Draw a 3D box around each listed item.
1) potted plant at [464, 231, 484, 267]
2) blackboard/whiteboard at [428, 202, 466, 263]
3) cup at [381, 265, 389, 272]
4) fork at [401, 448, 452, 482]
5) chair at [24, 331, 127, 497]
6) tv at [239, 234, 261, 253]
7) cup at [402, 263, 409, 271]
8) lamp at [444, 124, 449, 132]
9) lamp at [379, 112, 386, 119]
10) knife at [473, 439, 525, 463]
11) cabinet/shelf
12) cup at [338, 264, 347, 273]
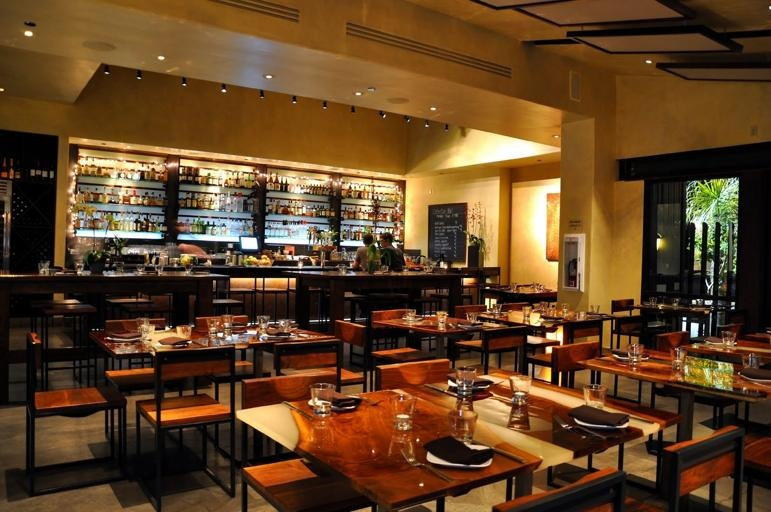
[{"bbox_3d":[2.044,-0.146,12.957,0.388,0.655,0.656,-1,-1,3],"label":"potted plant"},{"bbox_3d":[1.494,-0.549,13.638,0.093,1.883,1.587,2,0,-39],"label":"blackboard/whiteboard"},{"bbox_3d":[-0.010,0.193,9.036,0.141,0.113,0.087,0,2,24],"label":"cup"},{"bbox_3d":[0.202,1.168,3.255,0.093,0.063,0.504,1,1,-26],"label":"fork"},{"bbox_3d":[-2.662,1.263,4.927,0.742,1.272,0.814,-1,-1,-31],"label":"chair"},{"bbox_3d":[-2.760,-0.244,11.611,0.396,0.323,0.192,5,-21,-32],"label":"tv"},{"bbox_3d":[0.364,0.200,10.617,0.140,0.097,0.121,-1,3,2],"label":"cup"},{"bbox_3d":[1.360,-2.856,12.906,0.064,0.139,0.149,-1,-1,-35],"label":"lamp"},{"bbox_3d":[-0.061,-3.257,13.352,0.134,0.114,0.335,-1,-1,3],"label":"lamp"},{"bbox_3d":[0.656,1.133,3.336,0.264,0.020,0.043,10,4,29],"label":"knife"},{"bbox_3d":[-3.003,-1.079,12.203,6.657,1.318,0.593,-1,-1,-33],"label":"cabinet/shelf"},{"bbox_3d":[-0.617,0.182,8.403,0.110,0.134,0.152,0,-4,-3],"label":"cup"}]
